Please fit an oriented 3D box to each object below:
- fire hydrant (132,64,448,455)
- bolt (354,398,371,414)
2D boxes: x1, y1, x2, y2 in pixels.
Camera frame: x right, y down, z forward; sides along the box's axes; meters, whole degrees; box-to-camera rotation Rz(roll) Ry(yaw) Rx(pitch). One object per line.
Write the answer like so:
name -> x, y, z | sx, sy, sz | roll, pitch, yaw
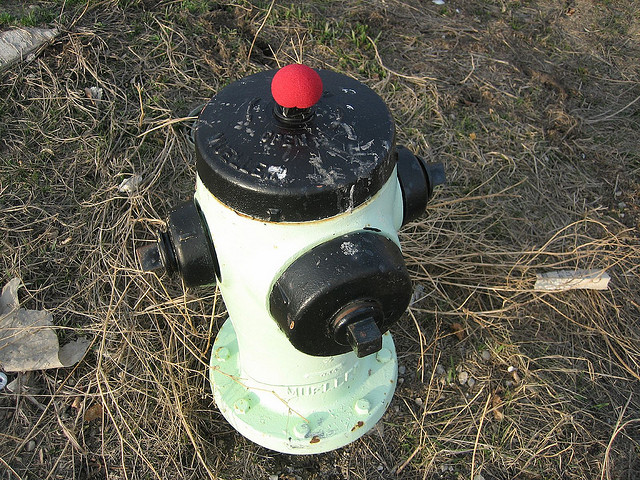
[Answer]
fire hydrant -> -0.167, 0.208, 3.457 | 1.150, 1.558, 1.314 | -15, 47, -15
bolt -> 0.222, 0.870, 3.607 | 0.059, 0.016, 0.069 | -8, 50, -2
